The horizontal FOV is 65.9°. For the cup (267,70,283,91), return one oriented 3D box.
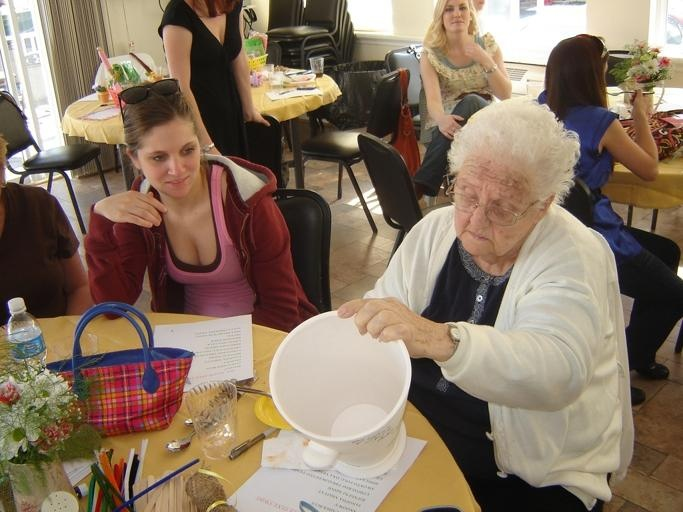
[{"bbox_3d":[-0.540,-1.506,4.453,0.151,0.195,0.164,0,0,0],"label":"cup"}]

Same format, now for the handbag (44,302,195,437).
[{"bbox_3d":[-0.594,0.318,1.432,0.273,0.274,0.114,-7,8,-6],"label":"handbag"}]

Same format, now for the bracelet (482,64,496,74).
[{"bbox_3d":[1.083,-1.360,3.835,0.070,0.018,0.072,-4,-4,-27],"label":"bracelet"}]

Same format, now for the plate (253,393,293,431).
[{"bbox_3d":[-0.184,0.419,1.404,0.097,0.022,0.070,30,36,27],"label":"plate"}]

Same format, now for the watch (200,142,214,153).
[{"bbox_3d":[-0.795,-0.652,3.136,0.064,0.051,0.081,-16,24,-30],"label":"watch"}]

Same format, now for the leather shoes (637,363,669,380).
[{"bbox_3d":[1.574,0.590,2.692,0.156,0.074,0.083,-4,39,20],"label":"leather shoes"}]

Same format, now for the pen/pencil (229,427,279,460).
[{"bbox_3d":[-0.222,0.483,1.344,0.016,0.019,0.148,15,29,40],"label":"pen/pencil"}]

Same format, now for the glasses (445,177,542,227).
[{"bbox_3d":[0.435,-0.143,1.482,0.244,0.109,0.088,4,19,22],"label":"glasses"}]

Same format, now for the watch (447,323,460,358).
[{"bbox_3d":[0.288,0.217,1.359,0.038,0.062,0.062,8,27,-5],"label":"watch"}]

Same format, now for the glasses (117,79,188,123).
[{"bbox_3d":[-0.720,-0.603,1.978,0.237,0.119,0.145,-6,18,-9],"label":"glasses"}]

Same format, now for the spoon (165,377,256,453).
[{"bbox_3d":[-0.340,0.393,1.389,0.121,0.149,0.192,6,12,26],"label":"spoon"}]
